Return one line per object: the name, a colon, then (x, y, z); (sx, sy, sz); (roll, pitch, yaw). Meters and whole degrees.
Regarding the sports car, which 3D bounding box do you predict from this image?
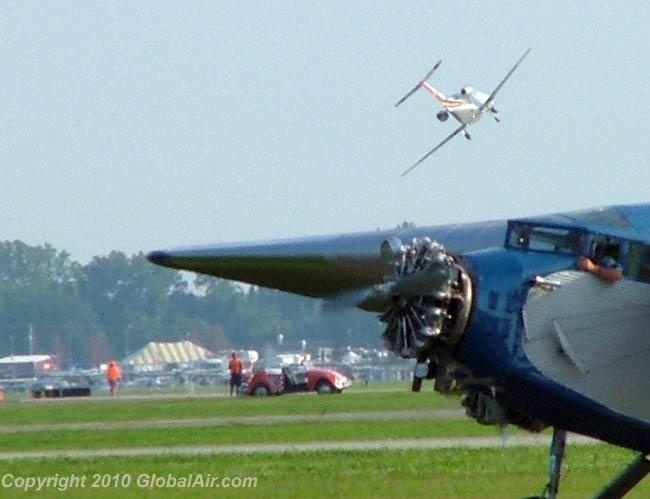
sports car: (-0.681, 4.730, 39.715); (4.897, 1.161, 3.778); (-4, 2, 28)
